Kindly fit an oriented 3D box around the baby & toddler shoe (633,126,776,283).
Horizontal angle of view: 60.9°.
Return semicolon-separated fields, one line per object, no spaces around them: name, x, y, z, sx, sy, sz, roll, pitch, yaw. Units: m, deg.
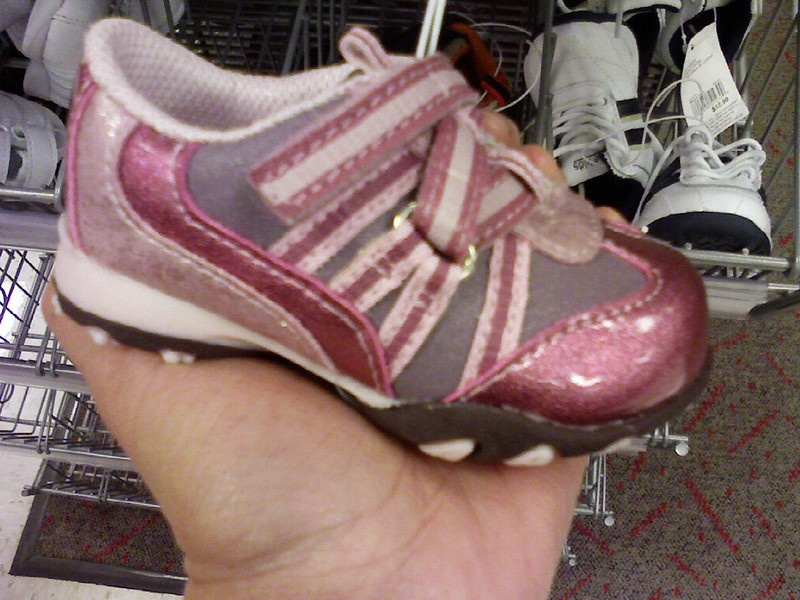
baby & toddler shoe;0.410;-0.161;0.891;0.154;0.100;0.256;11;31;2
